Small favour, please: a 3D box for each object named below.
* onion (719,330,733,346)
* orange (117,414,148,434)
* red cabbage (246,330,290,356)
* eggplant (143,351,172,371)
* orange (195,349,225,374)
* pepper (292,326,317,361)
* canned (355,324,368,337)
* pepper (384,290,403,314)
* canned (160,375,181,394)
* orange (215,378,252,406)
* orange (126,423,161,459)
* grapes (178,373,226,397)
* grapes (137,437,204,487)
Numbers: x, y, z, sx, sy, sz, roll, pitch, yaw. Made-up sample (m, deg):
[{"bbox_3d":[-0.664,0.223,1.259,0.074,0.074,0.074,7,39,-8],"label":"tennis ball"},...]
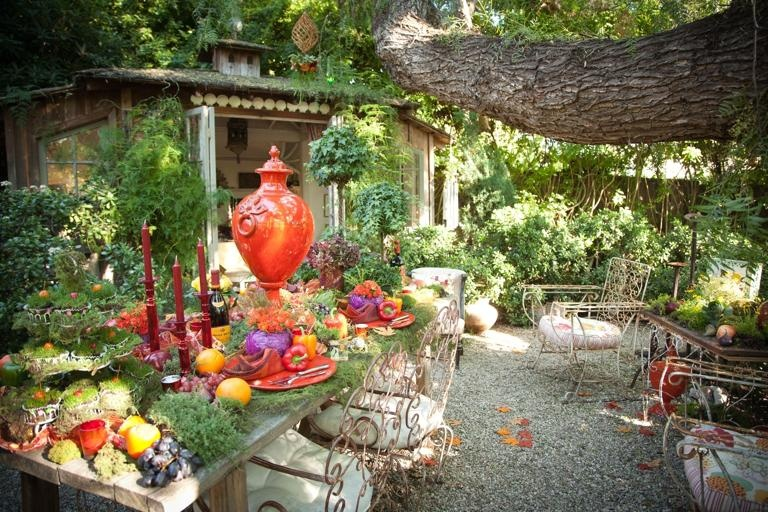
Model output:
[{"bbox_3d":[2.483,0.607,4.171,0.084,0.125,0.086,-1,-1,33],"label":"onion"},{"bbox_3d":[-1.278,0.853,2.904,0.091,0.063,0.093,-32,-14,34],"label":"orange"},{"bbox_3d":[-0.674,0.497,3.337,0.169,0.106,0.156,2,-5,-5],"label":"red cabbage"},{"bbox_3d":[-1.258,0.585,3.192,0.104,0.113,0.111,-5,9,-4],"label":"eggplant"},{"bbox_3d":[-0.955,0.586,3.150,0.128,0.138,0.128,-1,1,-1],"label":"orange"},{"bbox_3d":[-0.451,0.517,3.335,0.156,0.240,0.159,-1,-6,-2],"label":"pepper"},{"bbox_3d":[-0.145,0.482,3.696,0.068,0.081,0.072,1,-2,10],"label":"canned"},{"bbox_3d":[0.087,0.330,4.263,0.125,0.195,0.132,-3,-6,22],"label":"pepper"},{"bbox_3d":[-1.131,0.680,3.041,0.081,0.058,0.084,3,0,-15],"label":"canned"},{"bbox_3d":[-0.797,0.714,3.029,0.150,0.161,0.147,0,-3,1],"label":"orange"},{"bbox_3d":[-1.185,0.903,2.858,0.152,0.161,0.157,0,4,5],"label":"orange"},{"bbox_3d":[-0.978,0.686,3.049,0.150,0.072,0.116,7,5,26],"label":"grapes"},{"bbox_3d":[-1.049,1.008,2.802,0.194,0.123,0.267,23,21,22],"label":"grapes"}]
